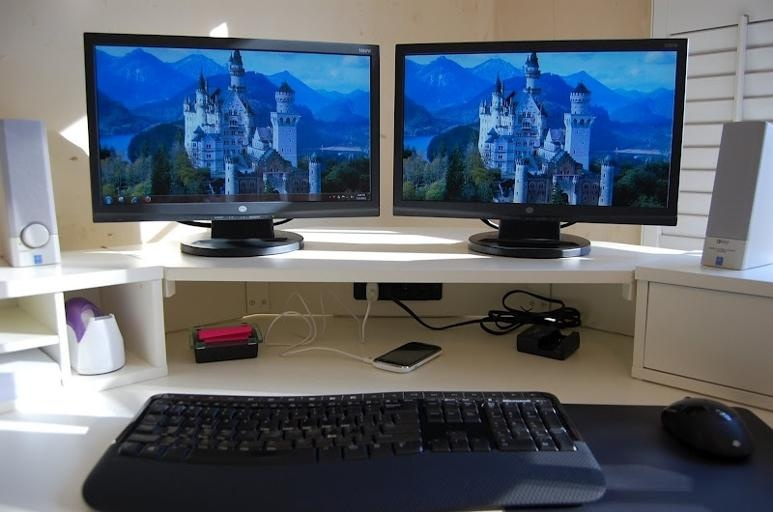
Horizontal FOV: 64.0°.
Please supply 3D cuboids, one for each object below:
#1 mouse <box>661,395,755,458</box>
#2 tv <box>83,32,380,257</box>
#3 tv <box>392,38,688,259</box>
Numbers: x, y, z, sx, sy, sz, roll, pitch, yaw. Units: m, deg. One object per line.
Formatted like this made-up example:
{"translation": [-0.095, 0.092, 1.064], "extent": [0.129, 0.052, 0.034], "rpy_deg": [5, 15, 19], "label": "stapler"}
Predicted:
{"translation": [0.625, 0.330, 1.209], "extent": [0.090, 0.051, 0.147], "rpy_deg": [-6, 16, -21], "label": "mouse"}
{"translation": [-0.424, -0.312, 1.677], "extent": [0.676, 0.447, 0.213], "rpy_deg": [-1, 6, -10], "label": "tv"}
{"translation": [0.406, -0.304, 1.673], "extent": [0.667, 0.461, 0.192], "rpy_deg": [1, 8, 7], "label": "tv"}
